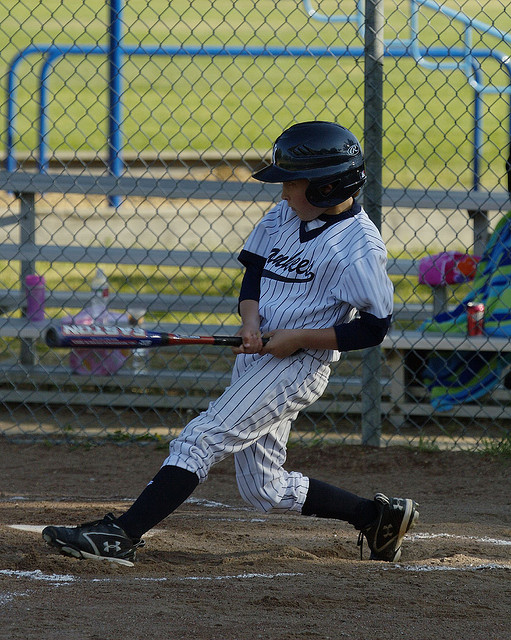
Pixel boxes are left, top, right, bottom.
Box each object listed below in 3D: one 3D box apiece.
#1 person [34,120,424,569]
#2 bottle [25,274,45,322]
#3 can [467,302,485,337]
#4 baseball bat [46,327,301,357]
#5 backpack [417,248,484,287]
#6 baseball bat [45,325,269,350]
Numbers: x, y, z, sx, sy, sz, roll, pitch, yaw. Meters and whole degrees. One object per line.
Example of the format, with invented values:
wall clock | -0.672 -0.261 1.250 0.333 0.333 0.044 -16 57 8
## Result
person | 0.048 0.082 3.366 1.007 1.368 0.588 2 9 0
bottle | -1.069 -0.105 5.368 0.089 0.232 0.179 0 9 -11
can | 1.007 -0.004 5.096 0.083 0.148 0.128 4 9 10
baseball bat | -0.284 0.073 3.819 1.065 0.101 0.108 2 12 -14
backpack | 0.959 -0.272 5.350 0.257 0.100 0.257 -5 5 -45
baseball bat | -0.321 0.054 3.623 0.906 0.076 0.119 1 4 -11
